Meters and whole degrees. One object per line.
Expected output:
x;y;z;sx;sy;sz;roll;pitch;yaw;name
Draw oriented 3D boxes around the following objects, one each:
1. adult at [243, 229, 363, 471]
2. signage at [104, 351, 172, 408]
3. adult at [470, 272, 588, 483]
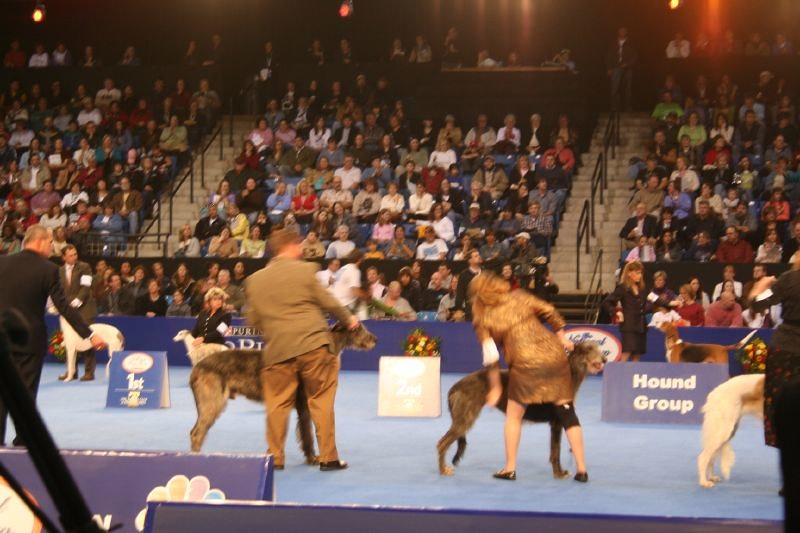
-1.601;1.373;16.457;1.489;3.820;0.633;-1;7;-9;adult
-5.131;2.152;20.681;1.141;1.102;0.407;1;3;7;signage
1.952;1.729;16.397;1.762;3.247;0.576;1;7;2;adult
